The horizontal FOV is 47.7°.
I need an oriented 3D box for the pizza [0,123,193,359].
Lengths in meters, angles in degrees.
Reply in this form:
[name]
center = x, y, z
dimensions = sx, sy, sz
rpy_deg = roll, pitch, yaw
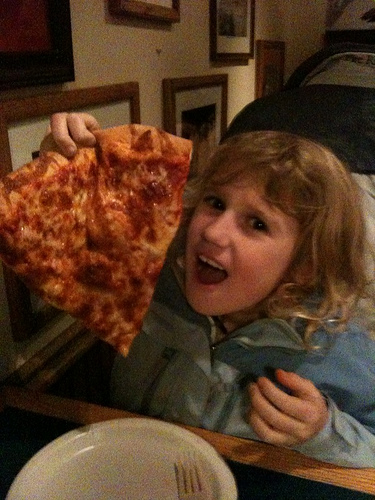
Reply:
[pizza]
center = -0.128, -0.014, 0.638
dimensions = 0.260, 0.326, 0.175
rpy_deg = 1, 24, -3
